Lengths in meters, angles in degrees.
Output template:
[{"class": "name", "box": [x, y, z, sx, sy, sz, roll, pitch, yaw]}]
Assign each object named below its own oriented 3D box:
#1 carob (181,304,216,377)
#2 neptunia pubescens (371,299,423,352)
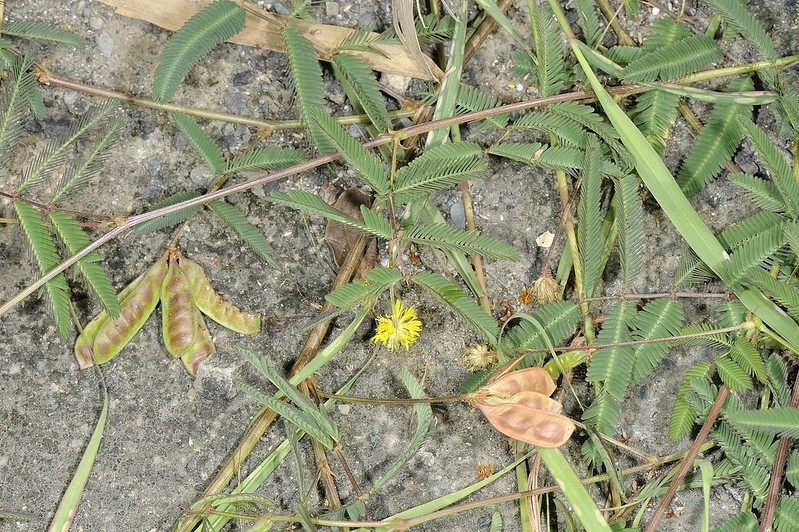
[{"class": "carob", "box": [-0.809, 0.307, 3.258, 0.083, 0.084, 0.325, 0, 88, 2]}, {"class": "neptunia pubescens", "box": [-0.001, 0.229, 3.258, 0.135, 0.251, 0.236, 2, 91, -2]}]
